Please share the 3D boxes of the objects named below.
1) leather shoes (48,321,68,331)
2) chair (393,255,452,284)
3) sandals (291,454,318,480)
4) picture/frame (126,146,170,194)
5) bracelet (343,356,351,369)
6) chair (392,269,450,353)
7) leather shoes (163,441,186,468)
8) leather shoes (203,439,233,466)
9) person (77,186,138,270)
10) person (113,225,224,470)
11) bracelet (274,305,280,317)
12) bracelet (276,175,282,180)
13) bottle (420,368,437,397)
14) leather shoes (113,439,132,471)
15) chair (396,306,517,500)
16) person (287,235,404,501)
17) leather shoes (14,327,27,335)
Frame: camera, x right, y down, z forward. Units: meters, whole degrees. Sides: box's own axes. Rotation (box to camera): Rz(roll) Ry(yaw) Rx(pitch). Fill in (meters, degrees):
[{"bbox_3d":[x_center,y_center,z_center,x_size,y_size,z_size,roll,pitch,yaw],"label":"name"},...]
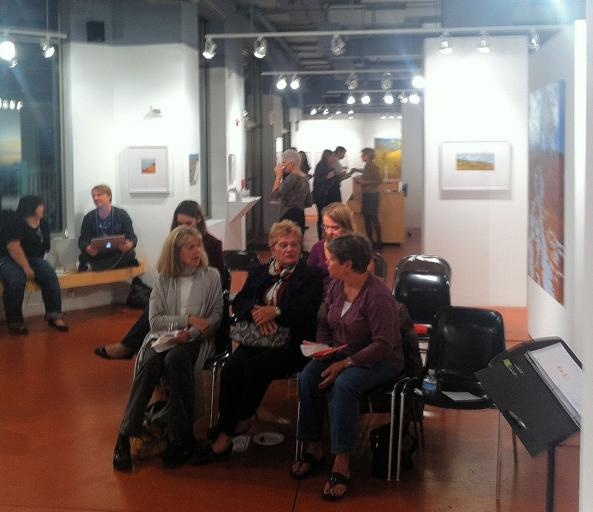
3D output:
[{"bbox_3d":[-2.784,0.819,5.861,0.247,0.096,0.104,16,12,18],"label":"leather shoes"},{"bbox_3d":[1.169,0.116,4.668,0.365,0.333,0.142,3,10,19],"label":"chair"},{"bbox_3d":[0.036,1.211,2.920,0.070,0.082,0.204,0,-2,22],"label":"sandals"},{"bbox_3d":[-2.031,-1.188,6.876,0.534,0.678,0.064,0,2,-1],"label":"picture/frame"},{"bbox_3d":[0.286,0.616,2.909,0.041,0.048,0.011,-2,-15,2],"label":"bracelet"},{"bbox_3d":[1.027,0.436,4.174,0.416,0.661,0.584,3,1,7],"label":"chair"},{"bbox_3d":[-0.741,1.209,3.062,0.085,0.118,0.162,-1,-8,7],"label":"leather shoes"},{"bbox_3d":[-0.493,1.188,3.122,0.076,0.081,0.214,29,42,28],"label":"leather shoes"},{"bbox_3d":[-2.489,-0.384,6.555,0.698,1.203,0.692,-5,-4,-26],"label":"person"},{"bbox_3d":[-0.820,0.543,3.237,0.525,1.403,0.682,1,7,9],"label":"person"},{"bbox_3d":[-0.132,0.355,3.265,0.015,0.053,0.051,0,-38,-19],"label":"bracelet"},{"bbox_3d":[-0.279,-1.112,7.244,0.060,0.070,0.103,-10,13,6],"label":"bracelet"},{"bbox_3d":[0.746,0.720,2.871,0.092,0.200,0.101,1,-4,0],"label":"bottle"},{"bbox_3d":[-1.062,1.211,3.068,0.072,0.100,0.232,0,0,-15],"label":"leather shoes"},{"bbox_3d":[0.957,0.823,3.144,0.809,1.366,0.883,1,-2,18],"label":"chair"},{"bbox_3d":[0.252,0.573,3.005,0.697,1.398,0.549,-7,9,-42],"label":"person"},{"bbox_3d":[-3.122,0.845,5.703,0.133,0.076,0.153,-6,9,-34],"label":"leather shoes"}]
